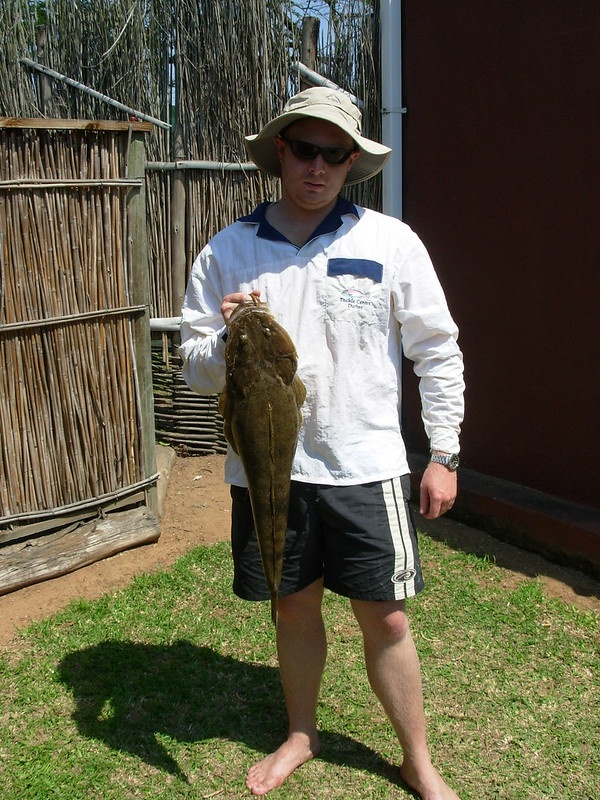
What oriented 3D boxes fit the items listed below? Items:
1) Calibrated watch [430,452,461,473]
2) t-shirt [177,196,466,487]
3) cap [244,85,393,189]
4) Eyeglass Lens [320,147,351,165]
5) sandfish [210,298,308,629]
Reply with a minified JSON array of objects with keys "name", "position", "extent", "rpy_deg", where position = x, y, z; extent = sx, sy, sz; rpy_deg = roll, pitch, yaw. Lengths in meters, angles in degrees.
[{"name":"Calibrated watch","position":[0.478,0.205,2.457],"extent":[0.090,0.055,0.088],"rpy_deg":[3,-20,27]},{"name":"t-shirt","position":[0.075,-0.211,2.436],"extent":[0.985,0.878,0.516],"rpy_deg":[-2,15,-8]},{"name":"cap","position":[0.069,-0.931,2.601],"extent":[0.447,0.226,0.458],"rpy_deg":[8,-16,13]},{"name":"Eyeglass Lens","position":[0.117,-0.786,2.366],"extent":[0.114,0.055,0.032],"rpy_deg":[-10,19,-36]},{"name":"sandfish","position":[-0.091,0.175,2.209],"extent":[0.278,0.948,0.296],"rpy_deg":[0,7,2]}]
